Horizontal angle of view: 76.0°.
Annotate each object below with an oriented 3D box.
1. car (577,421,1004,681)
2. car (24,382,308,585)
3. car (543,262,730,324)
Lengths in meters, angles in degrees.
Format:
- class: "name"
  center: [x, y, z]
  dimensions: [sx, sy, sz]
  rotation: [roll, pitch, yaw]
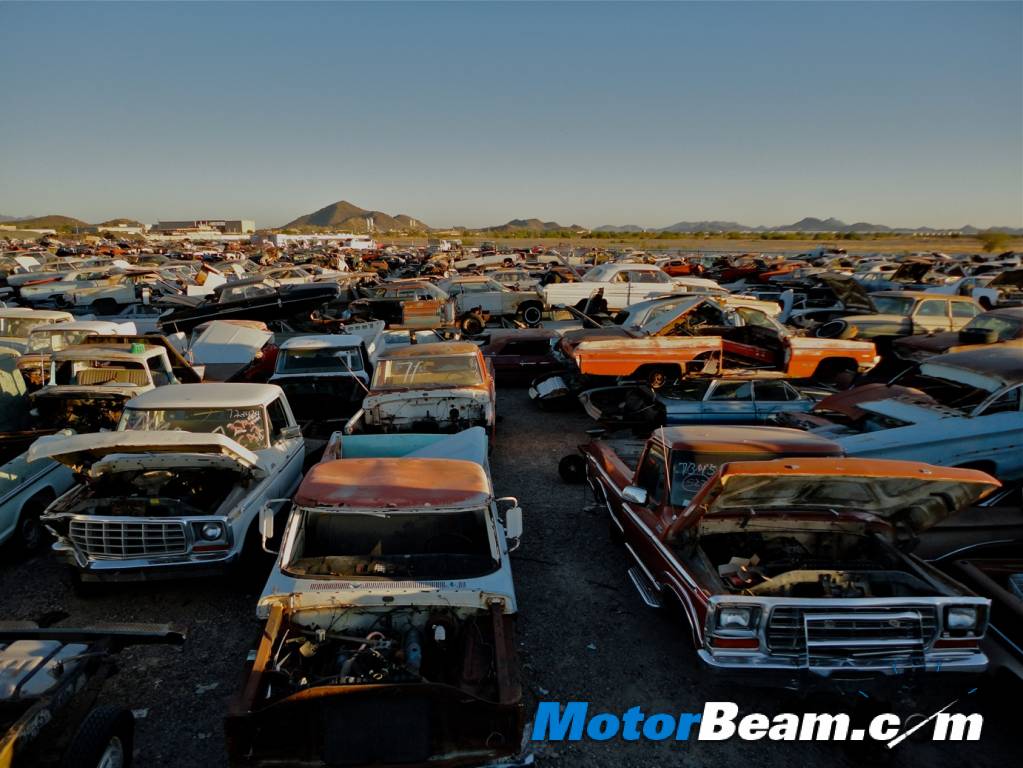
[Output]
- class: "car"
  center: [2.551, 1.382, 6.926]
  dimensions: [2.794, 1.159, 3.563]
  rotation: [5, 17, -9]
- class: "car"
  center: [-3.824, 1.135, 7.631]
  dimensions: [2.098, 1.744, 2.308]
  rotation: [-1, 15, -2]
- class: "car"
  center: [4.052, -3.331, 23.647]
  dimensions: [7.459, 1.286, 2.416]
  rotation: [-2, 17, -5]
